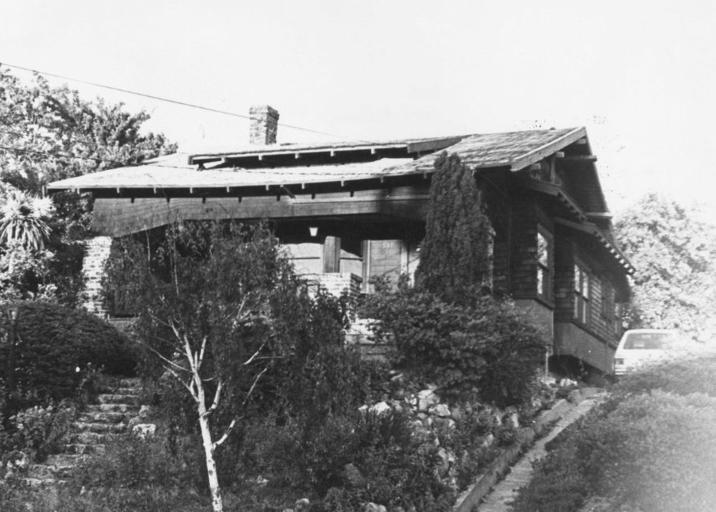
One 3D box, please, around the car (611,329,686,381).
[{"bbox_3d":[9.445,3.456,32.625,1.469,1.561,2.821,-2,-2,21],"label":"car"}]
